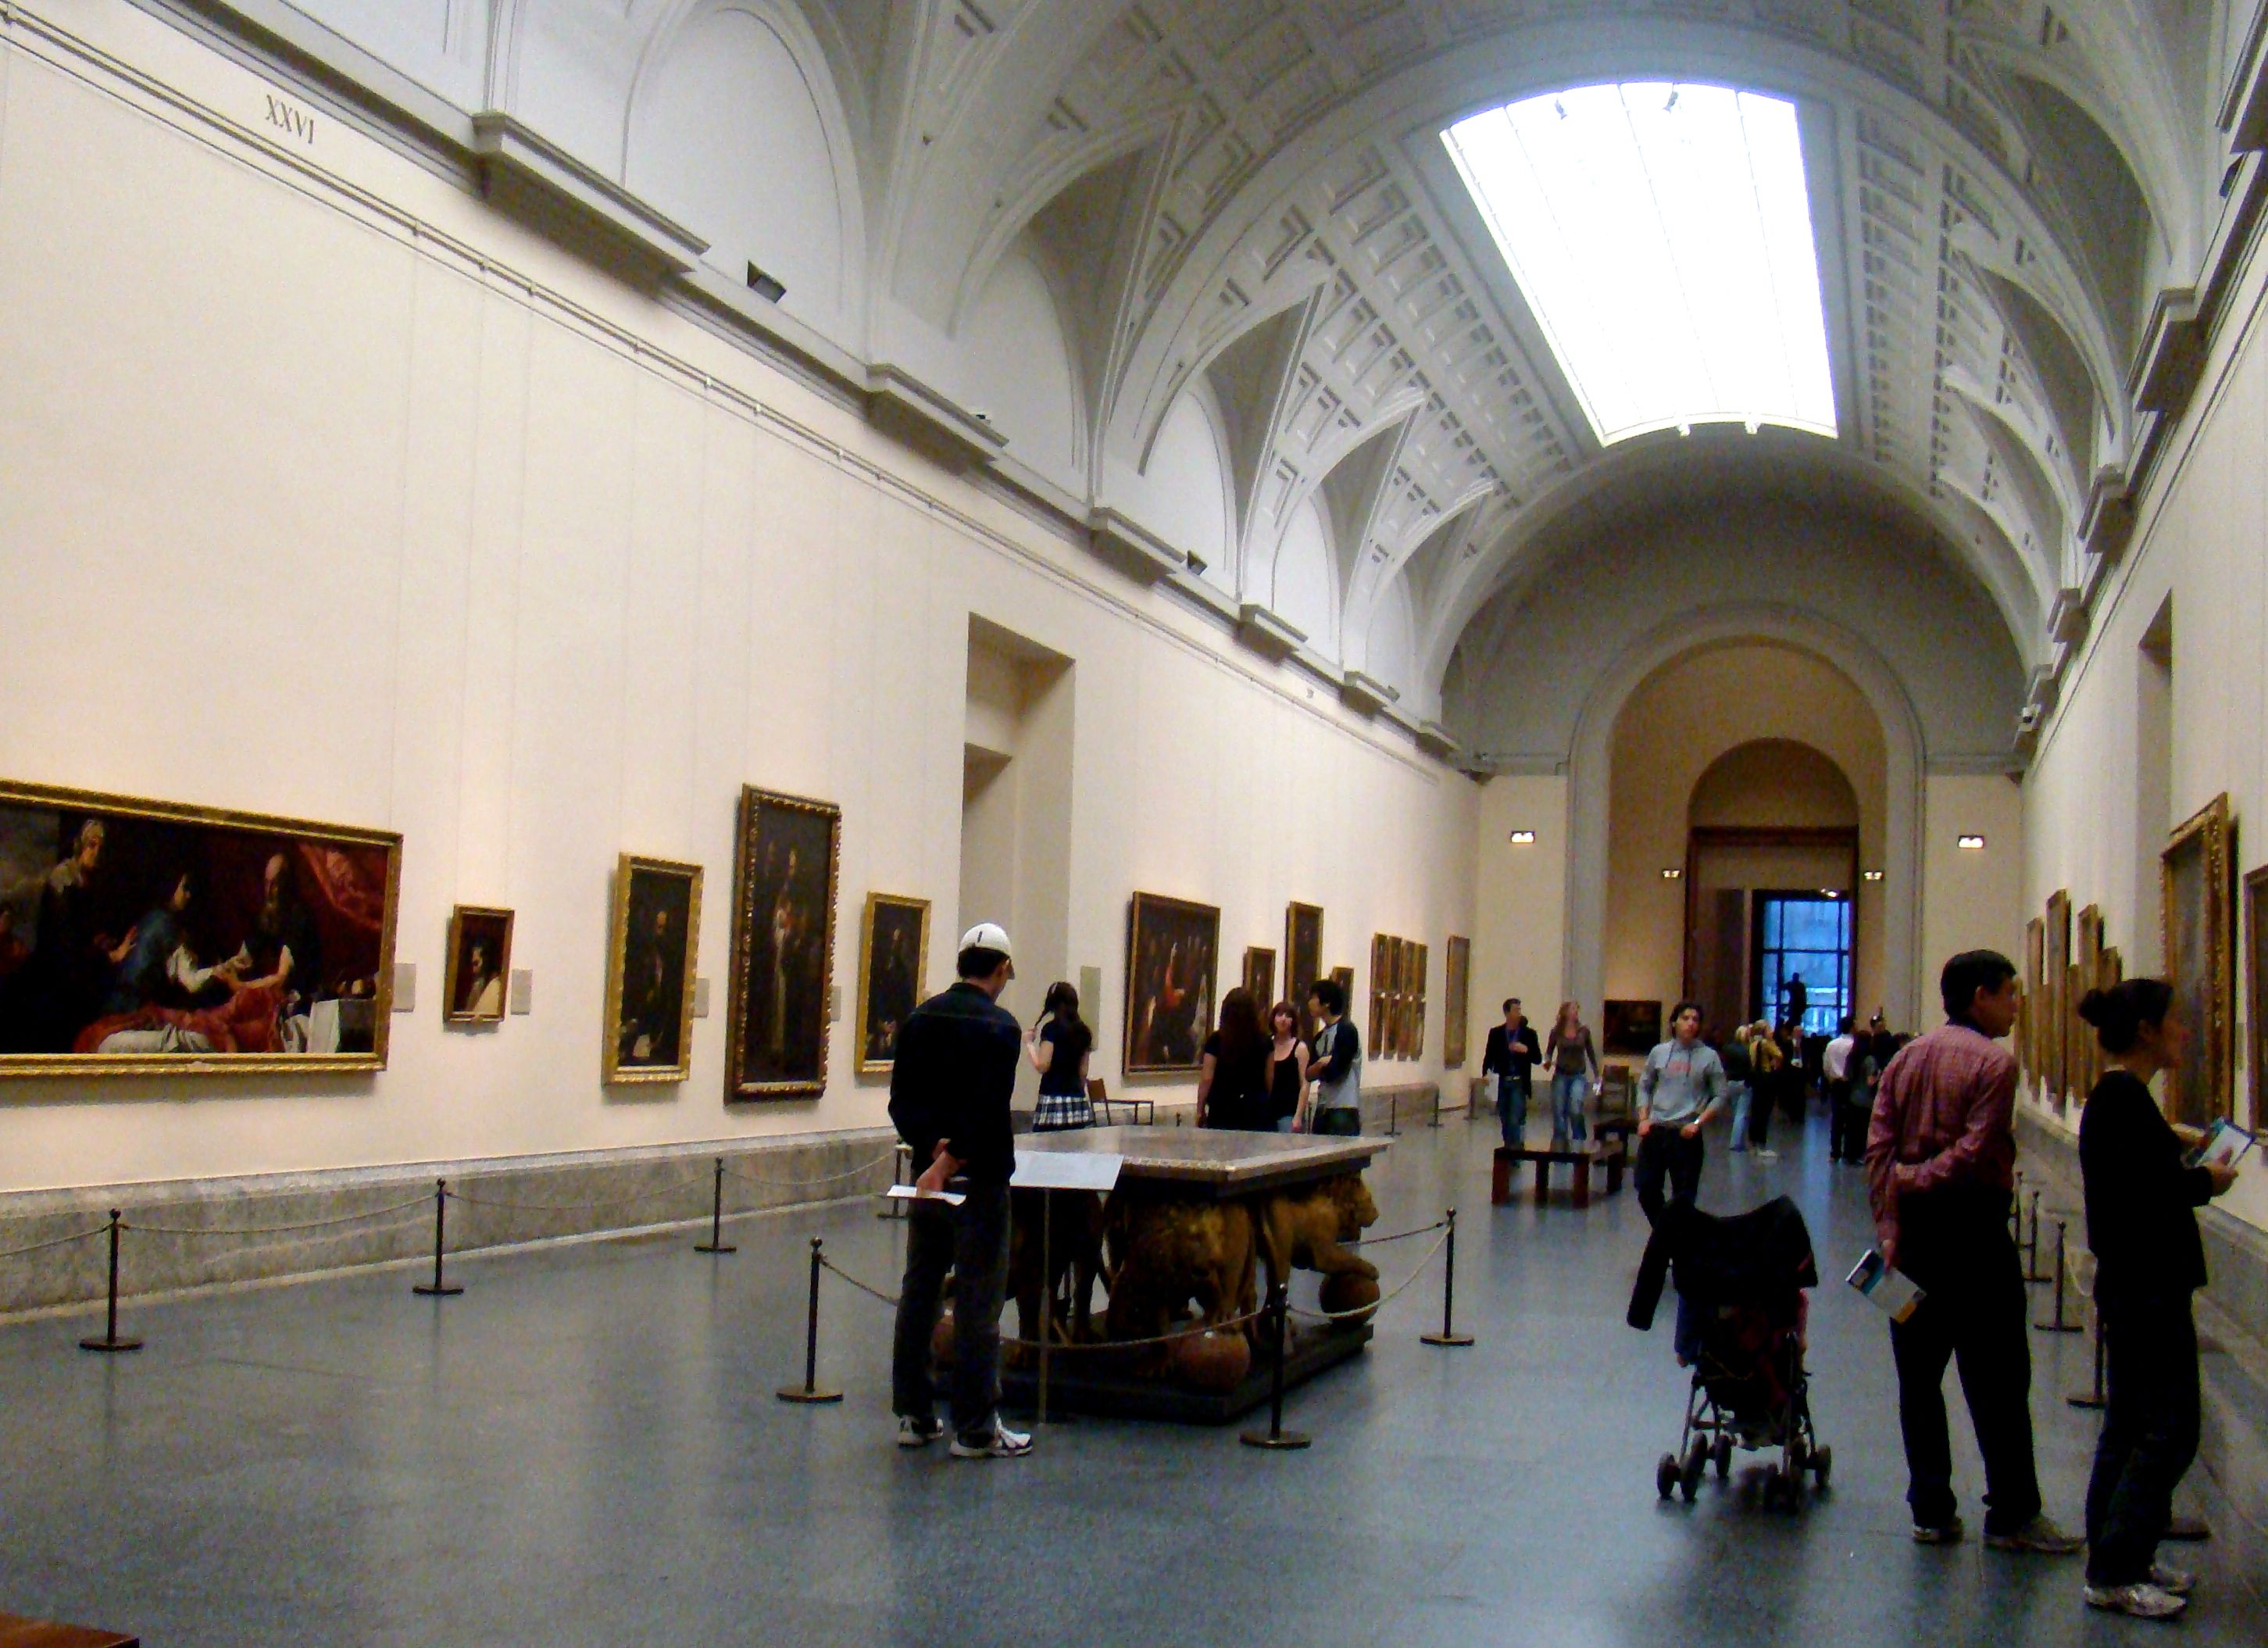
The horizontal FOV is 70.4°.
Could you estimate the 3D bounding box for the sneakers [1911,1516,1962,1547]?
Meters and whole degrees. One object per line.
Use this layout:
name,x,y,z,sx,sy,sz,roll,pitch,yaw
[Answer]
sneakers,3.289,2.911,6.618,0.227,0.113,0.081,-3,0,29

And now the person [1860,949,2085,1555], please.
person,3.426,1.744,6.635,0.674,2.412,0.572,-4,-10,38

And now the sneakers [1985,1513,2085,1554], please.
sneakers,3.655,2.860,6.510,0.301,0.153,0.139,-2,-3,10

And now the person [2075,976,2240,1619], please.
person,3.812,1.742,6.017,0.501,2.305,0.383,-3,-9,34

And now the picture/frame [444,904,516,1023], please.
picture/frame,-4.917,1.056,12.016,0.112,0.944,0.753,-2,-7,23

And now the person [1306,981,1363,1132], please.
person,1.745,2.023,13.930,0.352,1.285,1.173,1,-8,6

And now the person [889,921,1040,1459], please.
person,-0.793,1.680,7.461,0.625,2.409,0.722,6,-9,-31

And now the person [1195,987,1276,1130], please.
person,0.779,1.752,11.995,0.511,1.014,0.918,1,-8,4

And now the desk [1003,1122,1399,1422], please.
desk,0.225,2.407,8.813,1.458,1.057,2.006,-1,-3,21

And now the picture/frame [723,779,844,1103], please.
picture/frame,-3.290,1.186,14.974,0.247,2.819,1.382,-2,-9,25

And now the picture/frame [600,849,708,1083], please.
picture/frame,-4.067,1.249,13.560,0.197,1.842,0.951,-2,-9,25

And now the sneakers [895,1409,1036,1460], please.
sneakers,-0.766,2.830,7.397,0.613,0.310,0.244,1,-4,-2
